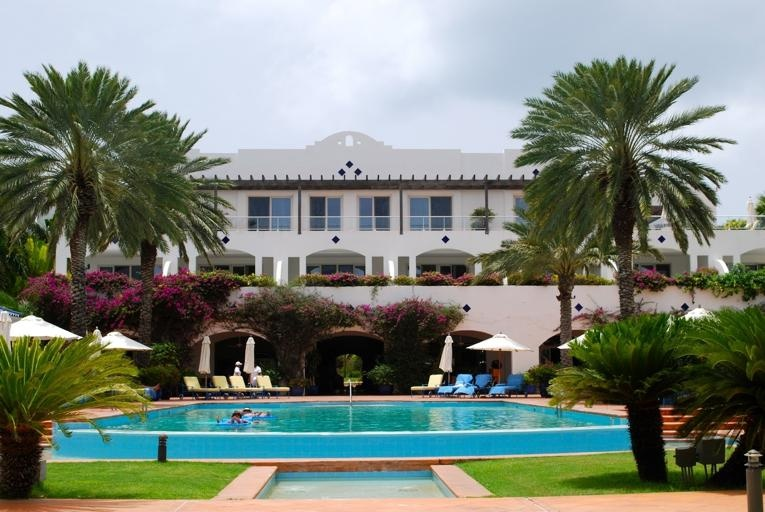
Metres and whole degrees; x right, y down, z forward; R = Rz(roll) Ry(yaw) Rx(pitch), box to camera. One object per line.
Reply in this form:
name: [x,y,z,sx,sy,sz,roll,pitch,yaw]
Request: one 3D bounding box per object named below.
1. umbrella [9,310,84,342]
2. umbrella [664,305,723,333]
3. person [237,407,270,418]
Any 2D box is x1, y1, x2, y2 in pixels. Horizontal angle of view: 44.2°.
umbrella: [-12.300,2.576,34.130,2.009,1.026,2.953,3,-9,-23]
umbrella: [8.957,1.819,27.382,1.185,0.637,1.340,9,-12,-41]
person: [-4.748,5.629,33.863,0.882,0.274,0.639,0,2,29]
